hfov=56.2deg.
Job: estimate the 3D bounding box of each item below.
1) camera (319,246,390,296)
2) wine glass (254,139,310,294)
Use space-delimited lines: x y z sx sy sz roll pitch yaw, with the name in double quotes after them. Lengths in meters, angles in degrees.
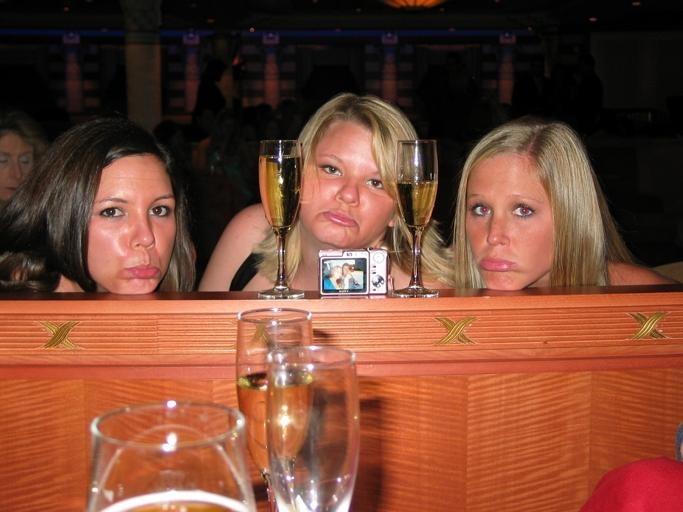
0.063 0.048 1.818 0.217 0.124 0.118 -3 -2 24 "camera"
-0.159 -0.109 1.732 0.123 0.424 0.255 1 4 -8 "wine glass"
